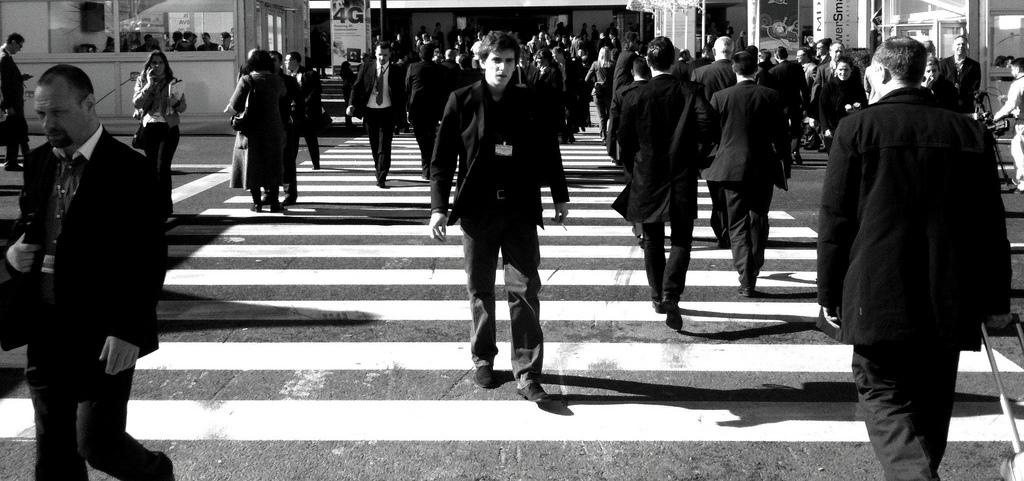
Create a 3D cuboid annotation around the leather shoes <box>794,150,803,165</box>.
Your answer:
[{"bbox_3d":[6.293,-1.872,20.983,0.214,0.262,0.641,-1,19,14],"label":"leather shoes"}]

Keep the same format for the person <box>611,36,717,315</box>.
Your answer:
[{"bbox_3d":[1.723,-0.716,10.929,1.079,3.136,0.629,2,13,11],"label":"person"}]

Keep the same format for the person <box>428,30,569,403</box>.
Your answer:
[{"bbox_3d":[-0.152,-0.257,9.689,1.266,3.660,0.806,4,14,20],"label":"person"}]

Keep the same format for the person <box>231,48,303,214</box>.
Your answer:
[{"bbox_3d":[-4.166,-1.779,15.550,1.013,2.658,0.647,-4,14,-16],"label":"person"}]

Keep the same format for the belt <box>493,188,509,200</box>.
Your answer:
[{"bbox_3d":[-0.124,-0.470,9.523,0.121,0.099,0.024,-1,13,-3],"label":"belt"}]

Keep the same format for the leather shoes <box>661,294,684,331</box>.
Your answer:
[{"bbox_3d":[1.852,0.824,11.008,0.194,0.447,0.198,-14,27,18],"label":"leather shoes"}]

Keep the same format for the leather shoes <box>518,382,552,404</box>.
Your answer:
[{"bbox_3d":[0.219,1.559,9.596,0.164,0.154,0.378,0,8,-43],"label":"leather shoes"}]
